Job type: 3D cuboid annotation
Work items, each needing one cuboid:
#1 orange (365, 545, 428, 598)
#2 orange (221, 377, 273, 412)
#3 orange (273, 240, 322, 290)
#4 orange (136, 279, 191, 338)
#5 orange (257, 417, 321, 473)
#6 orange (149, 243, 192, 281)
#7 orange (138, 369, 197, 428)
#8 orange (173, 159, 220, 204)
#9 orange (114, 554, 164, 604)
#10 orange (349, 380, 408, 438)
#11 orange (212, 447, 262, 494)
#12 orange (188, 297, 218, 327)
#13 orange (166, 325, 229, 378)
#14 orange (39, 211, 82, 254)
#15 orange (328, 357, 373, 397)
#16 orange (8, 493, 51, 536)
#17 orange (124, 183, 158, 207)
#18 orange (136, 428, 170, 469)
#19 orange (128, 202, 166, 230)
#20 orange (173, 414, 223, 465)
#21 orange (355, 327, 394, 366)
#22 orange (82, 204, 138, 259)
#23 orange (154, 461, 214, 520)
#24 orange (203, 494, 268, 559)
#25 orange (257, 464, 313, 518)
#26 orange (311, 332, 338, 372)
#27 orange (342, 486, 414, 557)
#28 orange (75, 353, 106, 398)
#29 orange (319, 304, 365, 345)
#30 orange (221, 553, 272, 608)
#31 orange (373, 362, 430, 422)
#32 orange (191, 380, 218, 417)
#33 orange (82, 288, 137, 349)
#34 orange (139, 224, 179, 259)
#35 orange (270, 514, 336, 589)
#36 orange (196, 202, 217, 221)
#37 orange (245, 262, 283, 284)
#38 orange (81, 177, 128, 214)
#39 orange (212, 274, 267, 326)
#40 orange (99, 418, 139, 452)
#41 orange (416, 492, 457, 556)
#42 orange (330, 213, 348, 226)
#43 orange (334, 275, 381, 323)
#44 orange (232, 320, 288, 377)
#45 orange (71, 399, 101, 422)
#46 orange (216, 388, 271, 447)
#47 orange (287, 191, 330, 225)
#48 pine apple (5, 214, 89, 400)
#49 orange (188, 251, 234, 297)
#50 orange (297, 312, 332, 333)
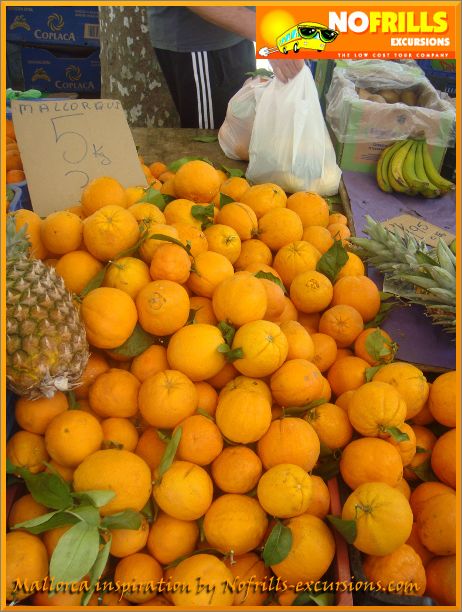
[{"bbox_3d":[0.345,0.548,1.001,0.117,0.108,0.114,-3,-2,2],"label":"orange"},{"bbox_3d":[0.036,0.211,1.164,0.089,0.086,0.089,3,1,18],"label":"orange"},{"bbox_3d":[0.209,-0.146,1.607,0.162,0.178,0.154,-3,9,-2],"label":"orange"},{"bbox_3d":[-0.178,0.008,1.216,0.127,0.122,0.089,-3,33,-1],"label":"orange"},{"bbox_3d":[0.128,0.331,1.113,0.131,0.123,0.124,10,61,-13],"label":"orange"},{"bbox_3d":[-0.164,-0.117,1.293,0.113,0.103,0.090,-22,38,-29],"label":"orange"},{"bbox_3d":[-0.163,0.219,1.106,0.139,0.128,0.128,-5,58,-15],"label":"orange"},{"bbox_3d":[-0.110,-0.466,1.770,0.170,0.155,0.164,6,32,7],"label":"orange"},{"bbox_3d":[-0.184,0.552,0.966,0.097,0.088,0.108,-2,11,-14],"label":"orange"},{"bbox_3d":[0.368,0.261,1.140,0.119,0.102,0.098,-53,23,-16],"label":"orange"},{"bbox_3d":[0.013,0.376,1.043,0.107,0.102,0.120,0,-3,-8],"label":"orange"},{"bbox_3d":[-0.069,0.021,1.360,0.078,0.074,0.077,-16,-4,4],"label":"orange"},{"bbox_3d":[-0.085,0.113,1.222,0.161,0.133,0.129,-6,22,-23],"label":"orange"},{"bbox_3d":[-0.486,-0.205,1.320,0.085,0.087,0.097,-42,12,12],"label":"orange"},{"bbox_3d":[0.332,0.205,1.405,0.120,0.115,0.140,-30,-4,-4],"label":"orange"},{"bbox_3d":[-0.432,0.472,1.038,0.078,0.065,0.064,-22,38,29],"label":"orange"},{"bbox_3d":[-0.311,-0.401,1.659,0.091,0.088,0.090,-6,30,10],"label":"orange"},{"bbox_3d":[-0.189,0.342,1.100,0.082,0.094,0.080,0,-3,8],"label":"orange"},{"bbox_3d":[-0.248,-0.263,1.469,0.108,0.101,0.125,6,3,-2],"label":"orange"},{"bbox_3d":[-0.068,0.311,1.107,0.107,0.110,0.108,-3,17,6],"label":"orange"},{"bbox_3d":[0.442,0.126,1.477,0.118,0.101,0.118,28,4,10],"label":"orange"},{"bbox_3d":[-0.333,-0.203,1.353,0.150,0.151,0.144,14,-2,-6],"label":"orange"},{"bbox_3d":[-0.107,0.410,1.011,0.128,0.117,0.096,2,33,7],"label":"orange"},{"bbox_3d":[0.011,0.454,1.007,0.123,0.123,0.133,-12,-12,0],"label":"orange"},{"bbox_3d":[0.118,0.413,1.004,0.118,0.132,0.086,5,34,12],"label":"orange"},{"bbox_3d":[0.275,0.134,1.413,0.107,0.120,0.104,1,19,2],"label":"orange"},{"bbox_3d":[0.300,0.447,0.945,0.093,0.122,0.092,36,73,3],"label":"orange"},{"bbox_3d":[-0.351,0.189,1.242,0.102,0.117,0.099,14,-14,-13],"label":"orange"},{"bbox_3d":[0.361,0.062,1.541,0.135,0.123,0.128,-2,-1,-3],"label":"orange"},{"bbox_3d":[0.029,0.576,0.975,0.102,0.093,0.099,4,48,-2],"label":"orange"},{"bbox_3d":[0.445,0.231,1.205,0.100,0.095,0.115,28,56,21],"label":"orange"},{"bbox_3d":[-0.061,0.238,1.184,0.079,0.092,0.078,-7,6,4],"label":"orange"},{"bbox_3d":[-0.313,0.042,1.187,0.134,0.152,0.112,-3,33,-1],"label":"orange"},{"bbox_3d":[-0.222,-0.182,1.388,0.103,0.104,0.120,6,23,10],"label":"orange"},{"bbox_3d":[0.160,0.521,1.014,0.122,0.131,0.133,16,-12,46],"label":"orange"},{"bbox_3d":[-0.084,-0.331,1.625,0.054,0.025,0.067,-7,8,27],"label":"orange"},{"bbox_3d":[0.099,-0.093,1.496,0.068,0.068,0.082,22,-5,4],"label":"orange"},{"bbox_3d":[-0.402,-0.360,1.539,0.134,0.156,0.140,10,18,21],"label":"orange"},{"bbox_3d":[0.021,-0.020,1.270,0.157,0.114,0.148,6,33,13],"label":"orange"},{"bbox_3d":[-0.278,0.299,1.124,0.084,0.081,0.081,7,16,37],"label":"orange"},{"bbox_3d":[0.451,0.482,1.007,0.090,0.088,0.106,16,61,8],"label":"orange"},{"bbox_3d":[0.473,-0.383,2.037,0.070,0.067,0.065,3,61,-3],"label":"orange"},{"bbox_3d":[0.433,-0.024,1.565,0.155,0.141,0.149,3,2,27],"label":"orange"},{"bbox_3d":[0.075,0.119,1.175,0.141,0.136,0.100,-2,33,0],"label":"orange"},{"bbox_3d":[-0.360,0.257,1.188,0.057,0.066,0.055,24,77,13],"label":"orange"},{"bbox_3d":[0.028,0.267,1.094,0.131,0.114,0.095,4,33,9],"label":"orange"},{"bbox_3d":[0.298,-0.385,1.911,0.159,0.155,0.145,-5,56,-8],"label":"orange"},{"bbox_3d":[-0.458,0.021,1.099,0.181,0.316,0.372,-14,35,-18],"label":"pine apple"},{"bbox_3d":[-0.059,-0.094,1.423,0.127,0.126,0.145,19,42,17],"label":"orange"},{"bbox_3d":[0.288,0.048,1.557,0.071,0.069,0.081,8,26,0],"label":"orange"}]
